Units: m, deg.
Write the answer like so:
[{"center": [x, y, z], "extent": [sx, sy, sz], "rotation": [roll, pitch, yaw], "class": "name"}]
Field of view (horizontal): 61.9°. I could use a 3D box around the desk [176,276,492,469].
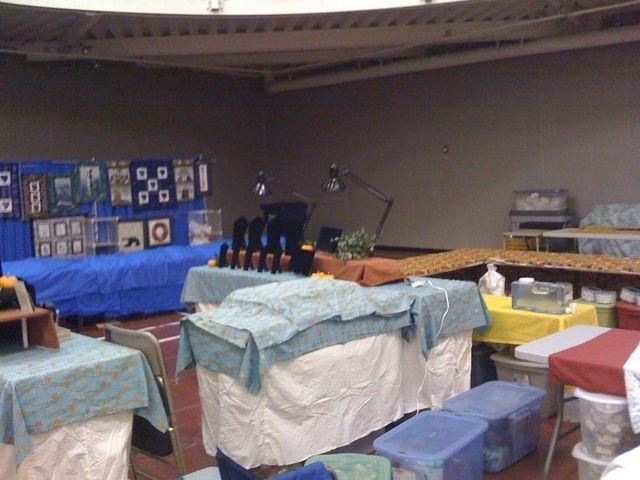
[{"center": [0.180, 0.869, 4.103], "extent": [2.095, 1.133, 1.286], "rotation": [-5, -1, -33], "class": "desk"}]
